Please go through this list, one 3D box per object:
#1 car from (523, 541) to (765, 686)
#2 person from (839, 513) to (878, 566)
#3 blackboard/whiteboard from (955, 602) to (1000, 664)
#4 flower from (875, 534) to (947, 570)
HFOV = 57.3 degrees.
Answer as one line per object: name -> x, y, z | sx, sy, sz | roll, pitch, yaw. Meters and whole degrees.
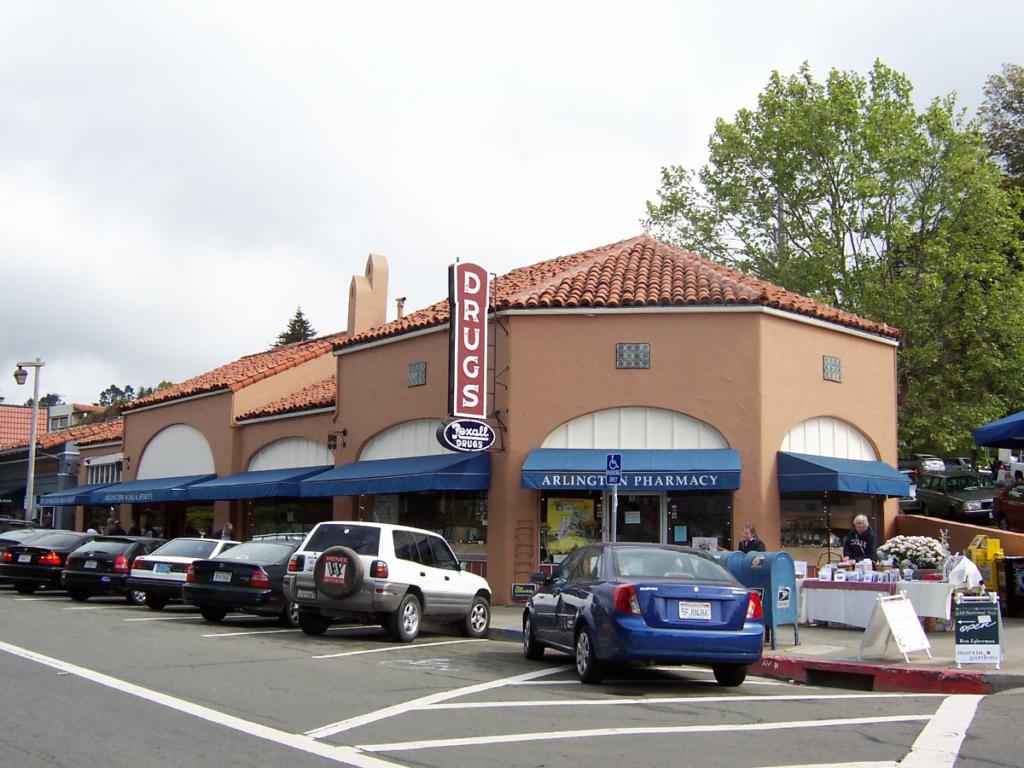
car -> 1.638, 3.170, 13.112 | 1.879, 1.880, 3.212 | 9, -15, -32
person -> 7.075, 3.223, 19.129 | 0.584, 0.979, 0.619 | 14, -10, -31
blackboard/whiteboard -> 6.330, 3.335, 12.943 | 0.645, 0.993, 0.650 | -2, 0, 17
flower -> 7.740, 3.259, 18.073 | 0.746, 0.436, 0.774 | -4, -5, 33
